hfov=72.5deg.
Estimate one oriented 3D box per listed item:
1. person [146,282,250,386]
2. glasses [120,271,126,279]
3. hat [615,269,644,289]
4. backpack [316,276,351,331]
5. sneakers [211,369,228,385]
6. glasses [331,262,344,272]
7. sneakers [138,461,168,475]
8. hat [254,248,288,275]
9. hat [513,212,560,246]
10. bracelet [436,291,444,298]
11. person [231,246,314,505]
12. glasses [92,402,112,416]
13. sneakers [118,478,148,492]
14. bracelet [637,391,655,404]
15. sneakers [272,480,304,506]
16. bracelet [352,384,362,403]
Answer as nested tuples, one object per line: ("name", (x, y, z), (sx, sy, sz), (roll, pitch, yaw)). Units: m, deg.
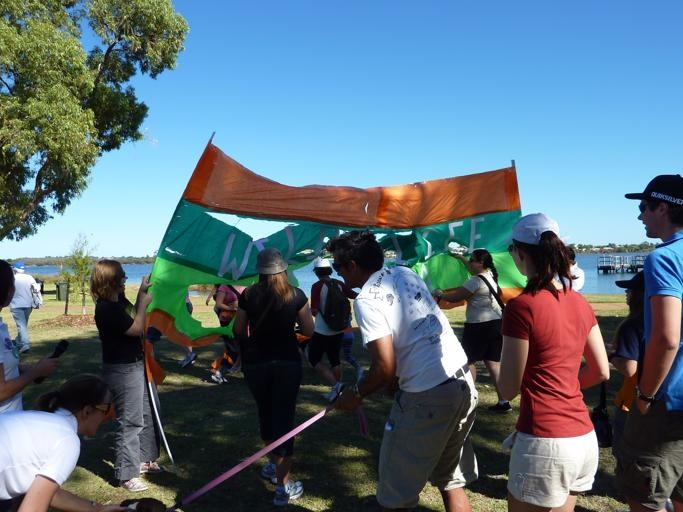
("person", (-2.117, 1.237, 6.847), (0.618, 0.588, 1.913), (19, -36, -25))
("glasses", (-2.239, 0.200, 4.772), (0.023, 0.074, 0.071), (-4, 10, -22))
("hat", (2.465, 0.198, 4.048), (0.269, 0.138, 0.173), (14, 6, 27))
("backpack", (-0.192, 0.745, 7.201), (0.491, 0.714, 0.760), (-1, 10, -44))
("sneakers", (-2.204, 2.160, 8.391), (0.149, 0.186, 0.414), (0, -4, 11))
("glasses", (-0.021, 0.092, 3.717), (0.088, 0.078, 0.071), (2, 2, 29))
("sneakers", (-2.080, 2.326, 5.129), (0.282, 0.124, 0.108), (4, -8, -13))
("hat", (-0.689, 0.054, 4.543), (0.229, 0.143, 0.279), (-9, 12, -29))
("hat", (1.277, -0.159, 3.023), (0.294, 0.150, 0.206), (-14, 17, -42))
("bracelet", (1.334, 0.530, 6.289), (0.085, 0.090, 0.087), (14, -11, -40))
("person", (-0.710, 1.177, 4.665), (0.805, 2.447, 0.557), (6, -9, -22))
("glasses", (-1.722, 1.097, 3.315), (0.093, 0.028, 0.090), (9, -3, -2))
("sneakers", (-2.142, 2.324, 4.775), (0.284, 0.119, 0.126), (1, -8, 8))
("bracelet", (2.156, 0.991, 3.246), (0.122, 0.074, 0.090), (4, -8, -12))
("sneakers", (-0.515, 2.315, 4.563), (0.133, 0.159, 0.353), (-2, -2, 24))
("bracelet", (0.112, 1.011, 3.435), (0.050, 0.129, 0.105), (-8, -17, 12))
